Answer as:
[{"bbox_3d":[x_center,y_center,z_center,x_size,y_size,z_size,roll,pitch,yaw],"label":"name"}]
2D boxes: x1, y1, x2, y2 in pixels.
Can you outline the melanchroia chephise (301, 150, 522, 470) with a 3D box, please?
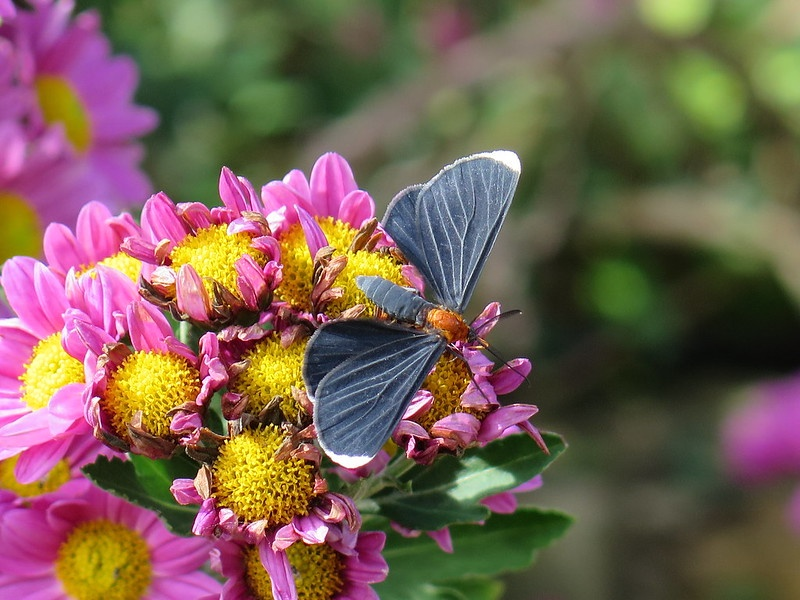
[{"bbox_3d":[0.031,0.009,1.292,0.232,0.508,0.135,16,65,-4],"label":"melanchroia chephise"}]
